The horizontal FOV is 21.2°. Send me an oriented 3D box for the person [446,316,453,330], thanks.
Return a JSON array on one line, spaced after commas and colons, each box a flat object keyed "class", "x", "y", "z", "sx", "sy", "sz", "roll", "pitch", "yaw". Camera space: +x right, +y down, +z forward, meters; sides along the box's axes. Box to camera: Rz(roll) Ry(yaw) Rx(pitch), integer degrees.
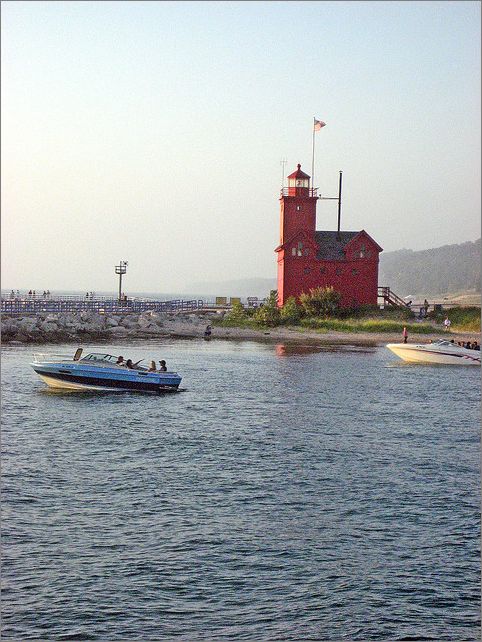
[{"class": "person", "x": 12.023, "y": 0.029, "z": 75.276, "sx": 0.478, "sy": 0.508, "sz": 1.420, "roll": -2, "pitch": 28, "yaw": 9}]
